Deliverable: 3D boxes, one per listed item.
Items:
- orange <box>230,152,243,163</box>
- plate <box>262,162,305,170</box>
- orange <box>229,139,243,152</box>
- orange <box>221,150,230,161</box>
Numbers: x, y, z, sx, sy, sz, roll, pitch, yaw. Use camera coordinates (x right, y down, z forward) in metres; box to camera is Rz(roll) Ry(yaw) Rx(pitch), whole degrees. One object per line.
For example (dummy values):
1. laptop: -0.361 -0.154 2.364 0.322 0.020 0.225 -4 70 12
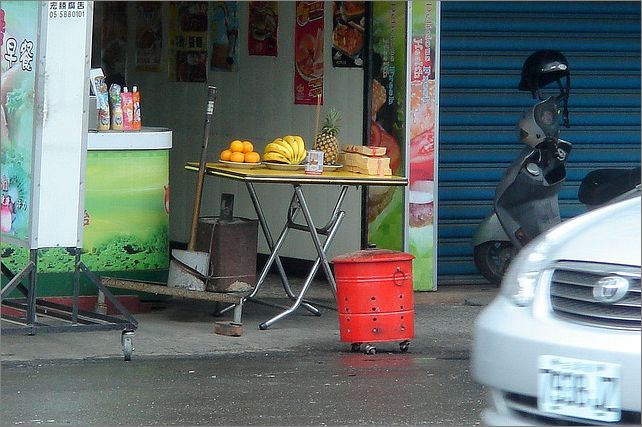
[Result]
1. orange: -0.856 -0.588 9.324 0.121 0.105 0.109 -1 10 -11
2. plate: -0.384 -0.494 9.339 0.395 0.069 0.339 0 7 -12
3. orange: -0.861 -0.732 9.541 0.135 0.125 0.133 3 -7 -39
4. orange: -0.971 -0.612 9.469 0.107 0.117 0.104 1 6 11
